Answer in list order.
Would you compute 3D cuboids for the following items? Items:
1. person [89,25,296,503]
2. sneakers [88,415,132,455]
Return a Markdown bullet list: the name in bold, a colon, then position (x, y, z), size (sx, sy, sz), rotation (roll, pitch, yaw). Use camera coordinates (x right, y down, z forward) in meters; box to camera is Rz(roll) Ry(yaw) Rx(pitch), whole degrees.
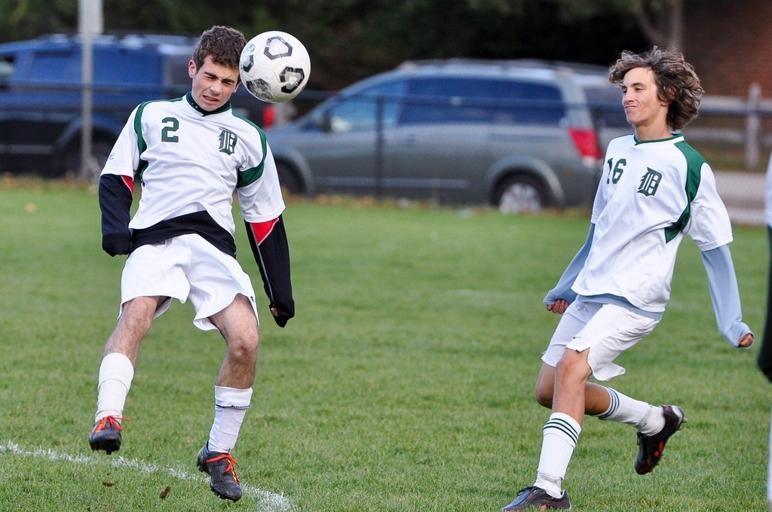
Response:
- **person**: position (-1.219, 0.040, 7.236), size (1.242, 2.944, 0.911), rotation (-1, 12, -11)
- **sneakers**: position (-1.703, 1.081, 6.843), size (0.126, 0.175, 0.330), rotation (17, -14, -12)
